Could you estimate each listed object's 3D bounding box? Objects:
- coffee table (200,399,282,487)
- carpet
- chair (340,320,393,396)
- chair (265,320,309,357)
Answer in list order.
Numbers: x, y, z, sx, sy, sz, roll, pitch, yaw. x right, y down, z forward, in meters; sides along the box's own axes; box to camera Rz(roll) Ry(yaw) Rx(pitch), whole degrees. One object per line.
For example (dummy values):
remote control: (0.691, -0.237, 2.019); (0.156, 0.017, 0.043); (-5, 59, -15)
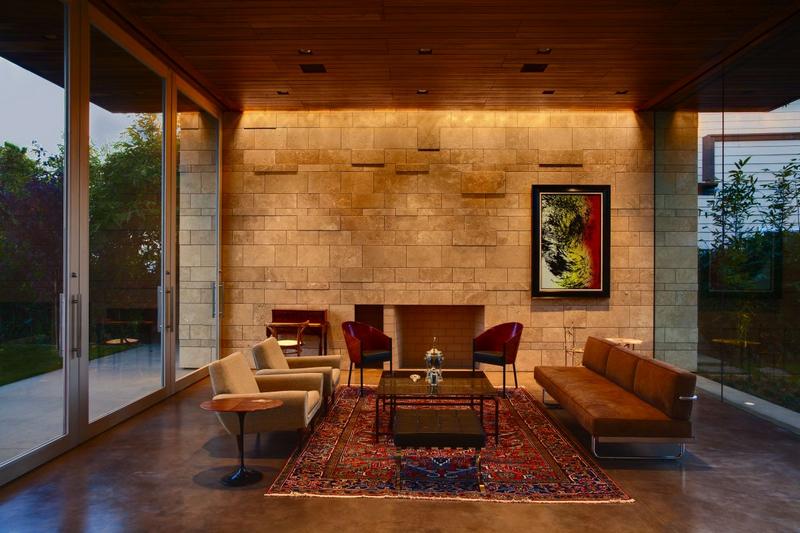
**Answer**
coffee table: (-1.720, 1.865, 6.465); (0.791, 0.833, 0.778); (0, 10, -2)
carpet: (0.501, 2.207, 7.583); (3.932, 0.028, 3.594); (0, 5, 9)
chair: (-0.556, 1.424, 9.738); (0.910, 0.827, 0.796); (2, 2, -2)
chair: (-2.026, 1.354, 10.461); (0.811, 0.628, 0.590); (3, -14, -19)
